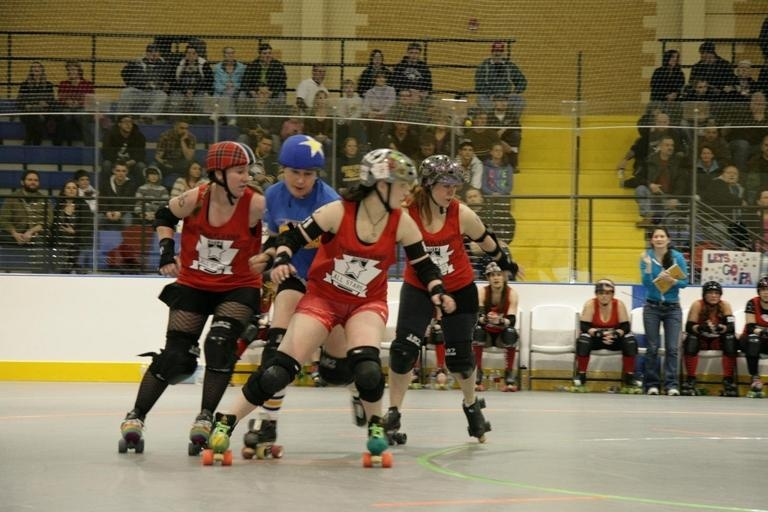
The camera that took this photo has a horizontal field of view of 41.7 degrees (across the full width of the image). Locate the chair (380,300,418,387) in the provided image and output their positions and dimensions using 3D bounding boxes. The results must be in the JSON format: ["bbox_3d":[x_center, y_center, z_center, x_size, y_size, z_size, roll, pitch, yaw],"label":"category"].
[{"bbox_3d":[0.211,0.801,9.635,0.252,0.735,0.308,14,-21,6],"label":"chair"}]

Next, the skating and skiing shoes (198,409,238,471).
[{"bbox_3d":[-1.443,1.607,8.754,0.258,0.274,0.498,3,24,-8],"label":"skating and skiing shoes"}]

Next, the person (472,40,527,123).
[{"bbox_3d":[1.843,-2.809,16.301,0.876,1.425,0.833,0,0,19],"label":"person"}]

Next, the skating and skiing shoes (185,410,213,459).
[{"bbox_3d":[-1.649,1.584,9.026,0.184,0.204,0.473,10,-30,-5],"label":"skating and skiing shoes"}]

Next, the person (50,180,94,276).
[{"bbox_3d":[-4.411,-0.295,14.255,0.711,1.098,0.581,3,2,2],"label":"person"}]

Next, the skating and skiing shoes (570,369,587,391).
[{"bbox_3d":[2.857,1.819,14.653,0.136,0.246,0.394,-1,-16,13],"label":"skating and skiing shoes"}]

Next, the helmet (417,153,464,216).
[{"bbox_3d":[0.541,-0.775,9.495,0.410,0.358,0.325,4,3,34],"label":"helmet"}]

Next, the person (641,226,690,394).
[{"bbox_3d":[4.001,0.777,14.472,0.649,2.396,0.564,3,2,13],"label":"person"}]

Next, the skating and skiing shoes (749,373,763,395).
[{"bbox_3d":[5.355,1.836,14.348,0.236,0.202,0.122,2,2,-22],"label":"skating and skiing shoes"}]

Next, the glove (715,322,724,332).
[{"bbox_3d":[4.832,1.036,14.413,0.111,0.101,0.111,-2,-3,33],"label":"glove"}]

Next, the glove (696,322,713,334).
[{"bbox_3d":[4.623,1.022,14.455,0.155,0.154,0.183,3,-15,-13],"label":"glove"}]

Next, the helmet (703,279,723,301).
[{"bbox_3d":[4.694,0.470,14.397,0.244,0.244,0.269,1,-6,-8],"label":"helmet"}]

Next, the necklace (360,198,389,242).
[{"bbox_3d":[-0.095,-0.322,8.875,0.242,0.363,0.144,6,2,-10],"label":"necklace"}]

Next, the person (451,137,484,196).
[{"bbox_3d":[1.177,-1.268,14.330,0.556,0.724,0.634,8,11,19],"label":"person"}]

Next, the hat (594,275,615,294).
[{"bbox_3d":[3.216,0.423,14.596,0.202,0.187,0.248,0,-16,8],"label":"hat"}]

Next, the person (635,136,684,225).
[{"bbox_3d":[4.021,-1.082,14.534,0.655,1.290,0.145,3,2,11],"label":"person"}]

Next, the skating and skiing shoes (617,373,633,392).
[{"bbox_3d":[3.487,1.832,14.683,0.130,0.262,0.293,4,-8,-29],"label":"skating and skiing shoes"}]

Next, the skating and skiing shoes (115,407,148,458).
[{"bbox_3d":[-2.298,1.584,9.146,0.222,0.395,0.222,2,2,-14],"label":"skating and skiing shoes"}]

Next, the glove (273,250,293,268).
[{"bbox_3d":[-0.884,0.020,8.822,0.140,0.169,0.159,5,5,-11],"label":"glove"}]

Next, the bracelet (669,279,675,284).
[{"bbox_3d":[4.096,0.345,14.221,0.124,0.050,0.023,2,2,-23],"label":"bracelet"}]

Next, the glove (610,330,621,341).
[{"bbox_3d":[3.359,1.133,14.518,0.098,0.113,0.116,4,-6,2],"label":"glove"}]

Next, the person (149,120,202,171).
[{"bbox_3d":[-2.867,-1.515,13.650,0.536,0.689,0.474,9,20,-33],"label":"person"}]

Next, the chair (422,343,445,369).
[{"bbox_3d":[0.731,1.459,14.921,0.422,0.500,0.536,0,-1,4],"label":"chair"}]

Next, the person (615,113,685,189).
[{"bbox_3d":[4.000,-1.558,14.944,0.924,1.115,0.512,13,0,10],"label":"person"}]
